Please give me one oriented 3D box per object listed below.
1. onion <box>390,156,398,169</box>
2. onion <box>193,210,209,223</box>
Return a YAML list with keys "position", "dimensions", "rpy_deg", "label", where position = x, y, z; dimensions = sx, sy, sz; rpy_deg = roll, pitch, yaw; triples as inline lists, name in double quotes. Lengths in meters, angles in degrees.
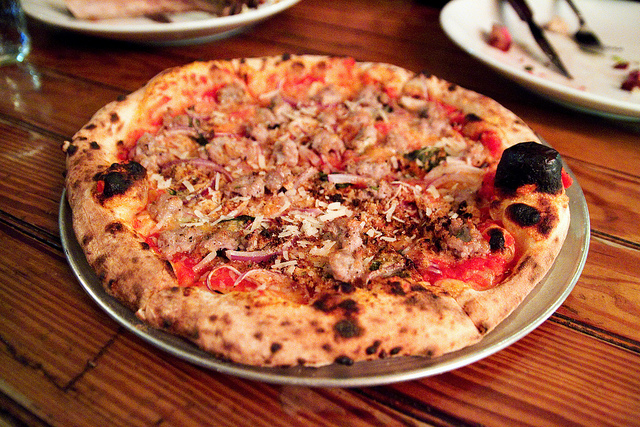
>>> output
- position: [0.366, -0.251, 2.778]
  dimensions: [0.031, 0.018, 0.056]
  rpy_deg: [-11, 62, -6]
  label: "onion"
- position: [-0.535, 0.014, 2.539]
  dimensions: [0.069, 0.017, 0.043]
  rpy_deg: [17, 33, 21]
  label: "onion"
